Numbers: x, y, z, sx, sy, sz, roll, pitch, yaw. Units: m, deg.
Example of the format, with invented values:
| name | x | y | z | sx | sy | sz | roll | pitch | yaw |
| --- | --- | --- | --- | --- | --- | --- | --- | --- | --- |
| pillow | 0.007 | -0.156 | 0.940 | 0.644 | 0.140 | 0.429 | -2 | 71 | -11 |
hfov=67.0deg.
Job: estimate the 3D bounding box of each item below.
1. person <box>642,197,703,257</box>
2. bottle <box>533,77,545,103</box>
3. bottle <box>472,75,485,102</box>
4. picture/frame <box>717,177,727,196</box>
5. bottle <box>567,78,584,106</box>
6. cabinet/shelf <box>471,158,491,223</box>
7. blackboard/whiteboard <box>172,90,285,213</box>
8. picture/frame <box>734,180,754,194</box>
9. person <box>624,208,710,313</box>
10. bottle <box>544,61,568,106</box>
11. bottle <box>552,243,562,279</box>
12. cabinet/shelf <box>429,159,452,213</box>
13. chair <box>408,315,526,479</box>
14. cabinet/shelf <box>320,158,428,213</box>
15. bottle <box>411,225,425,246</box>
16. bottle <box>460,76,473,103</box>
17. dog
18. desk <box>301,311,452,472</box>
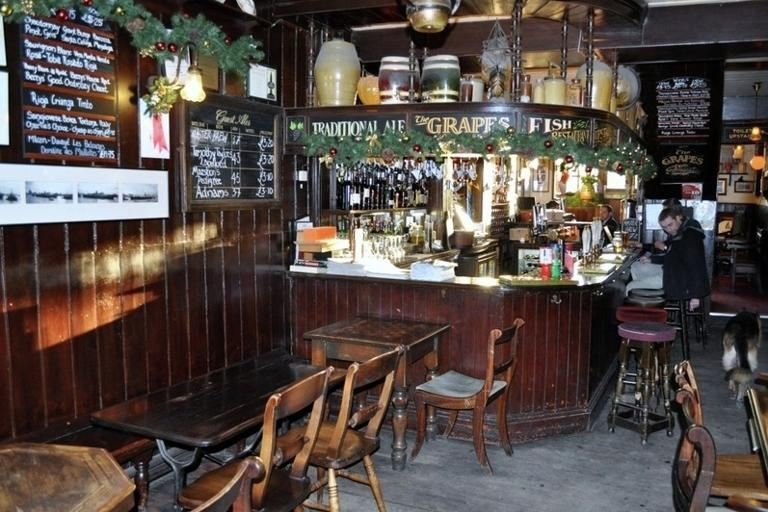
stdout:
| name | x | y | z | sx | sy | sz | roll | pitch | yaw |
| --- | --- | --- | --- | --- | --- | --- | --- | --- | --- |
| person | 3.909 | -0.405 | 7.823 | 0.856 | 0.251 | 0.819 | 17 | -22 | -18 |
| bottle | 1.399 | -1.483 | 5.254 | 0.093 | 0.200 | 0.157 | 2 | 10 | 7 |
| bottle | 0.834 | -1.471 | 5.154 | 0.083 | 0.185 | 0.148 | 7 | 12 | 29 |
| picture/frame | 9.906 | -2.020 | 16.972 | 0.261 | 0.550 | 0.152 | 1 | 11 | 1 |
| bottle | 1.796 | -1.538 | 5.451 | 0.153 | 0.302 | 0.508 | 4 | 10 | 16 |
| cabinet/shelf | 1.621 | -1.076 | 9.322 | 0.309 | 1.105 | 0.263 | -13 | 13 | -33 |
| blackboard/whiteboard | -1.300 | -0.886 | 5.070 | 1.083 | 0.928 | 0.083 | 9 | 13 | 27 |
| picture/frame | 10.378 | -1.995 | 16.687 | 0.382 | 0.325 | 0.041 | 7 | 11 | 32 |
| person | 3.576 | 0.070 | 7.173 | 0.770 | 1.363 | 0.992 | -20 | 16 | -32 |
| bottle | 1.549 | -1.528 | 5.266 | 0.205 | 0.350 | 0.208 | 4 | 13 | -1 |
| bottle | 1.604 | 0.051 | 5.380 | 0.102 | 0.270 | 0.382 | 4 | 11 | 17 |
| cabinet/shelf | 0.788 | -0.847 | 7.735 | 0.117 | 0.543 | 0.185 | 16 | 16 | 27 |
| chair | 0.692 | 1.123 | 4.890 | 0.887 | 1.125 | 0.810 | 2 | 4 | 43 |
| cabinet/shelf | 0.029 | -0.841 | 6.997 | 1.470 | 0.549 | 0.170 | 5 | 17 | 40 |
| bottle | 0.449 | -0.271 | 7.419 | 0.175 | 0.252 | 0.364 | 6 | 11 | 27 |
| bottle | 0.728 | -1.454 | 5.089 | 0.110 | 0.224 | 0.255 | 1 | 10 | 2 |
| dog | 3.658 | 1.070 | 5.937 | 0.294 | 0.610 | 1.123 | 6 | 42 | 27 |
| desk | -0.118 | 1.076 | 5.167 | 1.160 | 1.076 | 1.175 | 3 | 5 | 30 |
